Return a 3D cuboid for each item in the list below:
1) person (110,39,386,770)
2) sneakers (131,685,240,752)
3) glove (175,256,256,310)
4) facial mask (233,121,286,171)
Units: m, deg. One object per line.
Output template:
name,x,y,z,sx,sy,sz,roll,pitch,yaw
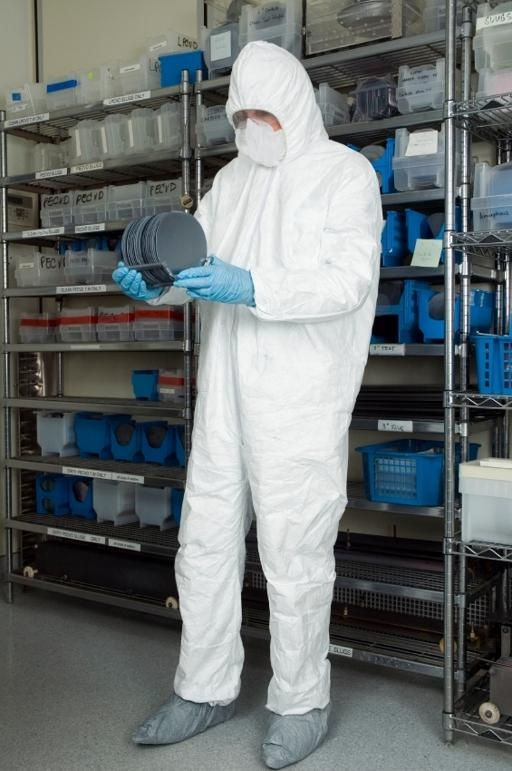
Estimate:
person,-0.008,0.050,1.810,0.642,1.854,0.554,0,0,9
sneakers,-0.215,0.914,2.044,0.284,0.180,0.102,2,9,-34
glove,-0.084,-0.235,1.589,0.158,0.112,0.165,0,0,11
facial mask,0.015,-0.617,1.815,0.103,0.102,0.116,8,42,26
